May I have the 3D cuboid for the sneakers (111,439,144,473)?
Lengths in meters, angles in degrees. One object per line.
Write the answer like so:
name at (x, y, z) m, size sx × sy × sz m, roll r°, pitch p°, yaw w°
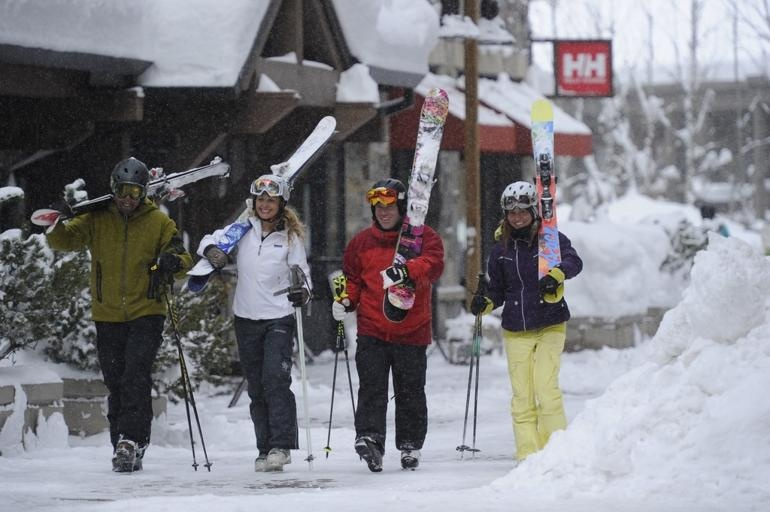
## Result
sneakers at (-2.298, 1.793, 11.945) m, size 0.226 × 0.293 × 0.299 m, roll 1°, pitch -18°, yaw -1°

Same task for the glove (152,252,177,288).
glove at (-1.985, 0.128, 12.044) m, size 0.234 × 0.276 × 0.237 m, roll -1°, pitch -1°, yaw -29°

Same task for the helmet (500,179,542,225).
helmet at (1.250, -0.500, 12.232) m, size 0.296 × 0.376 × 0.351 m, roll -4°, pitch 24°, yaw 10°

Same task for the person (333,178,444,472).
person at (0.041, 0.624, 12.156) m, size 0.968 × 2.619 × 0.561 m, roll -1°, pitch -1°, yaw -3°

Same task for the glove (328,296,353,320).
glove at (-0.400, 0.507, 12.213) m, size 0.158 × 0.211 × 0.103 m, roll 15°, pitch 9°, yaw 0°

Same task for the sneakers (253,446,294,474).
sneakers at (-1.010, 1.827, 11.985) m, size 0.307 × 0.210 × 0.201 m, roll -1°, pitch -1°, yaw -10°

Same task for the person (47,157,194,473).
person at (-2.345, 0.531, 12.116) m, size 1.176 × 2.808 × 0.471 m, roll -1°, pitch -1°, yaw -9°

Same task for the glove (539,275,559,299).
glove at (1.459, 0.284, 11.870) m, size 0.144 × 0.196 × 0.149 m, roll 4°, pitch 3°, yaw 6°

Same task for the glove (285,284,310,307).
glove at (-0.757, 0.376, 12.034) m, size 0.137 × 0.172 × 0.247 m, roll -2°, pitch -1°, yaw 37°

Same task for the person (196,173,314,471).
person at (-1.121, 0.604, 12.143) m, size 0.906 × 2.649 × 0.470 m, roll -1°, pitch -1°, yaw -2°

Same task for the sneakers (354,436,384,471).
sneakers at (-0.137, 1.778, 11.963) m, size 0.247 × 0.324 × 0.238 m, roll -2°, pitch -1°, yaw 0°

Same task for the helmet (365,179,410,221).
helmet at (0.006, -0.493, 12.201) m, size 0.320 × 0.367 × 0.380 m, roll -5°, pitch -4°, yaw 16°

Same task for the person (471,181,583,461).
person at (1.312, 0.575, 12.065) m, size 0.923 × 1.625 × 0.619 m, roll -2°, pitch -1°, yaw 10°

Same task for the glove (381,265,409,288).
glove at (0.092, 0.184, 11.924) m, size 0.224 × 0.180 × 0.087 m, roll -7°, pitch -19°, yaw -22°

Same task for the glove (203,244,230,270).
glove at (-1.544, 0.012, 12.198) m, size 0.249 × 0.145 × 0.105 m, roll 42°, pitch 3°, yaw 21°

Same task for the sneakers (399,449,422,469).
sneakers at (0.231, 1.845, 12.150) m, size 0.164 × 0.168 × 0.267 m, roll -2°, pitch -1°, yaw 2°

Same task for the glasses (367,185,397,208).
glasses at (-0.034, -0.526, 12.131) m, size 0.194 × 0.121 × 0.203 m, roll -8°, pitch -29°, yaw 21°

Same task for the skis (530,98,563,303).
skis at (1.497, -0.519, 12.390) m, size 0.210 × 1.994 × 0.254 m, roll -2°, pitch -24°, yaw 7°

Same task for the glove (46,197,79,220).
glove at (-2.875, -0.404, 12.058) m, size 0.178 × 0.074 × 0.188 m, roll 43°, pitch 36°, yaw 21°

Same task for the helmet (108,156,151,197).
helmet at (-2.337, -0.698, 12.222) m, size 0.288 × 0.370 × 0.331 m, roll 9°, pitch 1°, yaw -9°
